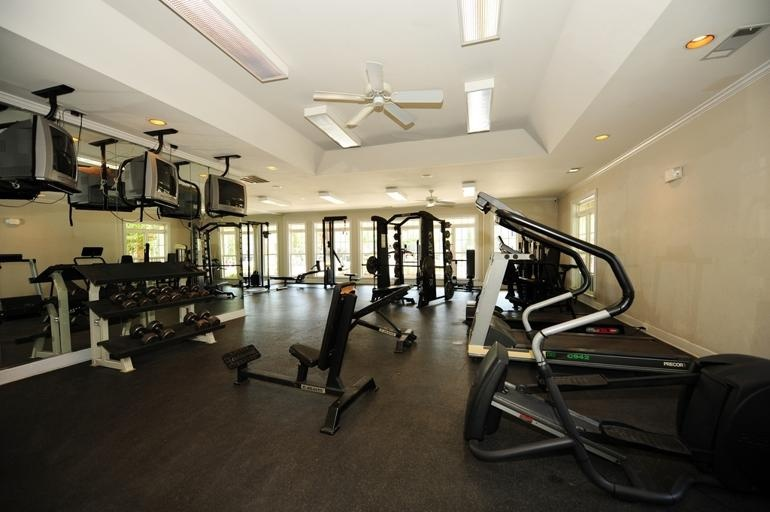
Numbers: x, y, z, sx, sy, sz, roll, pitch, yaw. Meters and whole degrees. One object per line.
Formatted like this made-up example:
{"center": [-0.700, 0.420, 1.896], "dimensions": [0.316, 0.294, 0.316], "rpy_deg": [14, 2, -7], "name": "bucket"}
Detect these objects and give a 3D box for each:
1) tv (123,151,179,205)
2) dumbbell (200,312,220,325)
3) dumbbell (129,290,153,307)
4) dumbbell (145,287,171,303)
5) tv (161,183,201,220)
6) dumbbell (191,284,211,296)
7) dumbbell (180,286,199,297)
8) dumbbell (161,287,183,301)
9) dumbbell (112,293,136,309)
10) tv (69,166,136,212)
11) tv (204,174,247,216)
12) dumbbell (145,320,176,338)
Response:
{"center": [-3.025, -0.989, 5.900], "dimensions": [0.514, 0.670, 0.817], "rpy_deg": [1, -1, 2], "name": "tv"}
{"center": [-2.454, 0.865, 6.381], "dimensions": [0.354, 0.139, 0.155], "rpy_deg": [5, -30, 31], "name": "dumbbell"}
{"center": [-3.047, 0.524, 5.741], "dimensions": [0.186, 0.070, 0.180], "rpy_deg": [-11, 14, -41], "name": "dumbbell"}
{"center": [-2.908, 0.500, 5.946], "dimensions": [0.215, 0.099, 0.250], "rpy_deg": [-7, 13, -39], "name": "dumbbell"}
{"center": [-2.989, -0.834, 7.013], "dimensions": [0.553, 0.572, 0.595], "rpy_deg": [1, -1, 3], "name": "tv"}
{"center": [-2.623, 0.476, 6.464], "dimensions": [0.210, 0.074, 0.127], "rpy_deg": [9, 6, 44], "name": "dumbbell"}
{"center": [-2.689, 0.487, 6.336], "dimensions": [0.187, 0.059, 0.176], "rpy_deg": [-1, 5, -28], "name": "dumbbell"}
{"center": [-2.814, 0.500, 6.075], "dimensions": [0.193, 0.073, 0.187], "rpy_deg": [-7, 12, -44], "name": "dumbbell"}
{"center": [-3.158, 0.536, 5.616], "dimensions": [0.185, 0.086, 0.236], "rpy_deg": [3, -1, -41], "name": "dumbbell"}
{"center": [-3.682, -0.865, 5.960], "dimensions": [0.578, 0.458, 0.896], "rpy_deg": [4, 1, -7], "name": "tv"}
{"center": [-2.452, -0.918, 7.015], "dimensions": [0.523, 0.651, 0.853], "rpy_deg": [2, -1, 18], "name": "tv"}
{"center": [-2.816, 0.915, 5.807], "dimensions": [0.459, 0.184, 0.200], "rpy_deg": [12, 32, 39], "name": "dumbbell"}
